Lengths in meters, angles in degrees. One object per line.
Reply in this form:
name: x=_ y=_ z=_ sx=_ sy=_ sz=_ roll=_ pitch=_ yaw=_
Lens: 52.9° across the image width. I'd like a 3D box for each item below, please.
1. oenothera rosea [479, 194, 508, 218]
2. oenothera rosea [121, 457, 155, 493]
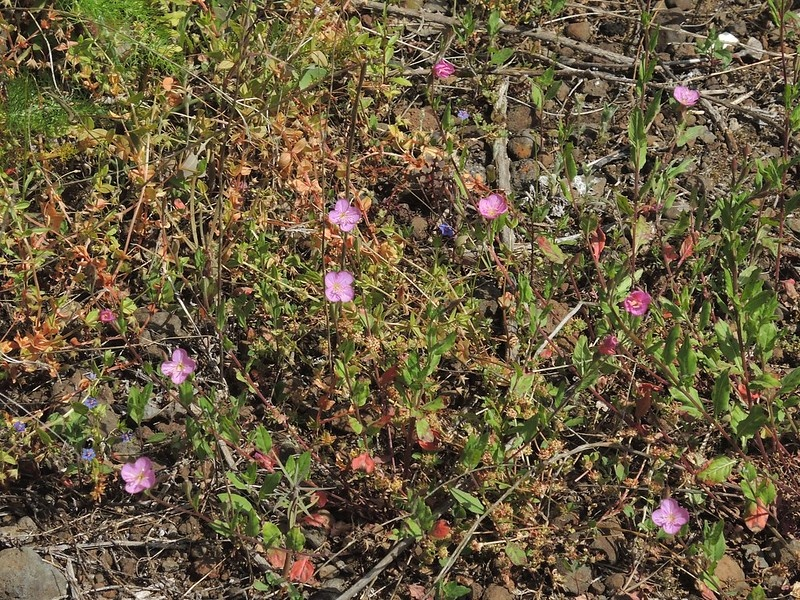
oenothera rosea: x=0.374 y=-0.364 z=3.262 sx=0.098 sy=0.053 sz=0.101 roll=21 pitch=72 yaw=18
oenothera rosea: x=-0.965 y=0.655 z=2.976 sx=0.108 sy=0.076 sz=0.128 roll=-15 pitch=58 yaw=-7
